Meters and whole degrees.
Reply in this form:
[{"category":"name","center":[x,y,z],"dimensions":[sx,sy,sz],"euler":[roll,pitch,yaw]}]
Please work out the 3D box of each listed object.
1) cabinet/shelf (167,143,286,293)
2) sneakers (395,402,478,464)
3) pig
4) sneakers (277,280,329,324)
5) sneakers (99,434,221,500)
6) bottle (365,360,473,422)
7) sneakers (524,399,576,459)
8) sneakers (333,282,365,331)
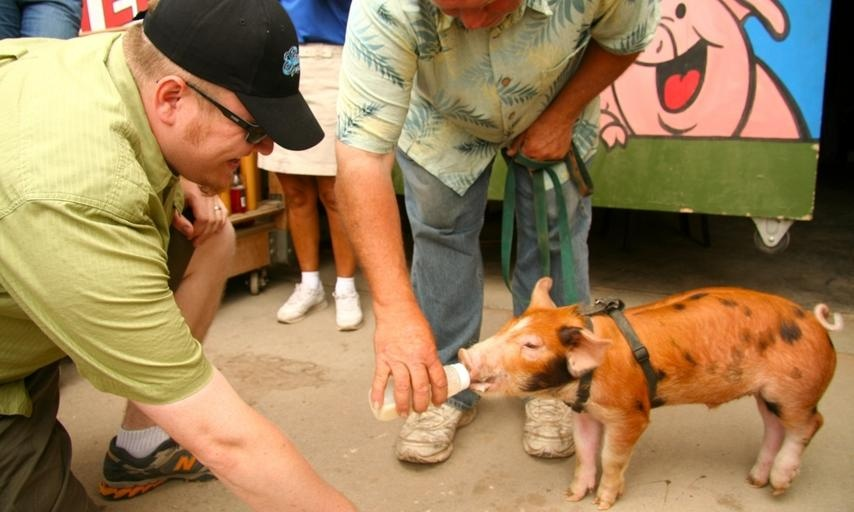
[{"category":"cabinet/shelf","center":[-1.182,-0.387,4.652],"dimensions":[0.789,1.165,1.245],"euler":[11,18,41]},{"category":"sneakers","center":[0.062,0.799,2.828],"dimensions":[0.208,0.201,0.478],"euler":[12,15,25]},{"category":"pig","center":[0.945,0.577,2.427],"dimensions":[1.520,0.849,0.403],"euler":[-7,27,-3]},{"category":"sneakers","center":[-0.793,0.306,3.992],"dimensions":[0.160,0.184,0.414],"euler":[0,15,38]},{"category":"sneakers","center":[-1.149,0.899,2.687],"dimensions":[0.577,0.237,0.219],"euler":[-4,12,-28]},{"category":"bottle","center":[0.001,0.488,2.216],"dimensions":[0.430,0.189,0.127],"euler":[-21,-8,-3]},{"category":"sneakers","center":[0.562,0.803,2.739],"dimensions":[0.183,0.085,0.286],"euler":[2,30,6]},{"category":"sneakers","center":[-0.507,0.326,3.827],"dimensions":[0.150,0.128,0.318],"euler":[-6,31,-6]}]
